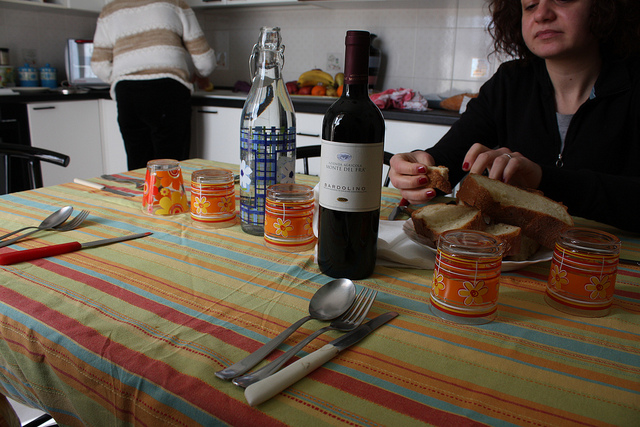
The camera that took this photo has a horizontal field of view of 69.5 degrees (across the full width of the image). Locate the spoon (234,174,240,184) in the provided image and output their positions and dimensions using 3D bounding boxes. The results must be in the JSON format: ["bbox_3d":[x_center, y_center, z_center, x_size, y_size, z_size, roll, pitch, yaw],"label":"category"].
[{"bbox_3d":[-0.257,-0.110,1.425,0.039,0.010,0.039,4,21,1],"label":"spoon"}]

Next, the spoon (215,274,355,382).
[{"bbox_3d":[-0.008,0.155,0.826,0.080,0.055,0.391,-7,18,42],"label":"spoon"}]

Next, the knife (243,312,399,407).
[{"bbox_3d":[0.001,0.231,0.713,0.222,0.018,0.029,-23,25,-36],"label":"knife"}]

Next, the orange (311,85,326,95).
[{"bbox_3d":[-0.007,-0.865,3.234,0.074,0.073,0.075,4,18,11],"label":"orange"}]

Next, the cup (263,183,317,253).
[{"bbox_3d":[-0.069,0.007,1.063,0.120,0.135,0.127,2,11,0],"label":"cup"}]

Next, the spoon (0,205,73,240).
[{"bbox_3d":[-0.629,0.009,1.092,0.041,0.034,0.213,15,23,28],"label":"spoon"}]

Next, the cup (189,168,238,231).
[{"bbox_3d":[-0.271,-0.040,1.168,0.122,0.131,0.124,2,16,-1],"label":"cup"}]

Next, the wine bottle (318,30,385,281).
[{"bbox_3d":[0.063,-0.104,0.907,0.124,0.467,0.123,1,14,0],"label":"wine bottle"}]

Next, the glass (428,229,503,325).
[{"bbox_3d":[0.273,0.118,0.845,0.125,0.137,0.123,-3,10,-15],"label":"glass"}]

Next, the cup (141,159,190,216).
[{"bbox_3d":[-0.411,-0.076,1.215,0.126,0.127,0.129,4,20,-2],"label":"cup"}]

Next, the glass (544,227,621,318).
[{"bbox_3d":[0.488,0.110,0.896,0.114,0.162,0.122,3,10,15],"label":"glass"}]
